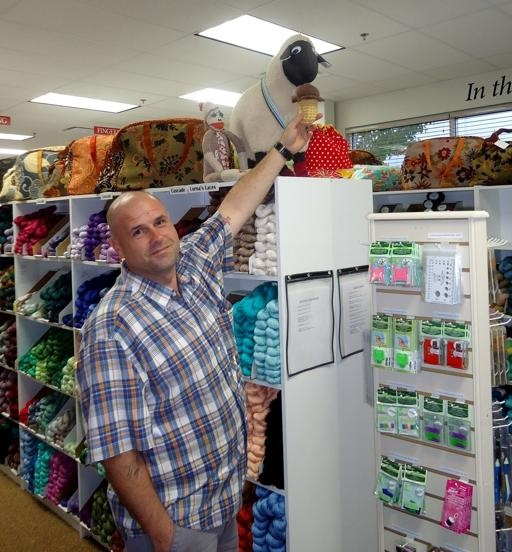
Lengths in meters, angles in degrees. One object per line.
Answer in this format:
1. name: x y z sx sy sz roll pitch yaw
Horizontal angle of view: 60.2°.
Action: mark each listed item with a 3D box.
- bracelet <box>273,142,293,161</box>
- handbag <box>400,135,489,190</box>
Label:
1. bracelet: 0.102 -0.456 1.649 0.074 0.045 0.077 44 -1 -30
2. handbag: 1.336 -0.814 3.166 0.594 0.329 0.299 3 21 37
